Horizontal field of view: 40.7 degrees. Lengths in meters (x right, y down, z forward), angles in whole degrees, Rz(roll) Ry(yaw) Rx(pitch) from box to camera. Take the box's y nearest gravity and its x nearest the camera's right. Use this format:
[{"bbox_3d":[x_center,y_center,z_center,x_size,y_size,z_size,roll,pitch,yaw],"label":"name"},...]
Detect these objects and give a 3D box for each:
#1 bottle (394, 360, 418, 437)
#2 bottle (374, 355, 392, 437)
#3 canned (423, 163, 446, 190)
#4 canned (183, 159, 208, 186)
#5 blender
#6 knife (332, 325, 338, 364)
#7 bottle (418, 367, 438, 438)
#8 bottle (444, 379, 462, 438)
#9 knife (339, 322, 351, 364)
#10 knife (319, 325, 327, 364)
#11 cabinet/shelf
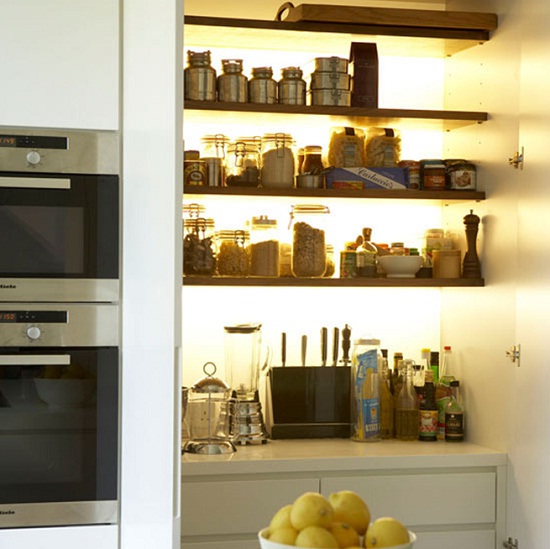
[{"bbox_3d":[0.466,0.438,2.638,0.087,0.273,0.106,-1,-5,-4],"label":"bottle"},{"bbox_3d":[0.393,0.418,2.632,0.052,0.307,0.155,-2,-5,9],"label":"bottle"},{"bbox_3d":[0.559,-0.342,2.612,0.073,0.123,0.082,0,1,1],"label":"canned"},{"bbox_3d":[-0.262,-0.336,2.444,0.078,0.098,0.071,0,3,-12],"label":"canned"},{"bbox_3d":[-0.103,0.372,2.589,0.146,0.400,0.236,-1,-5,-5],"label":"blender"},{"bbox_3d":[0.222,0.257,2.703,0.028,0.131,0.102,-1,-5,5],"label":"knife"},{"bbox_3d":[0.537,0.455,2.608,0.064,0.238,0.060,-1,-5,0],"label":"bottle"},{"bbox_3d":[0.636,0.474,2.625,0.060,0.203,0.107,-3,-5,27],"label":"bottle"},{"bbox_3d":[0.262,0.252,2.730,0.040,0.146,0.116,-1,-5,6],"label":"knife"},{"bbox_3d":[0.178,0.257,2.696,0.028,0.131,0.093,-1,-5,4],"label":"knife"},{"bbox_3d":[0.189,-0.426,2.550,0.792,0.790,0.287,1,-2,-10],"label":"cabinet/shelf"}]
